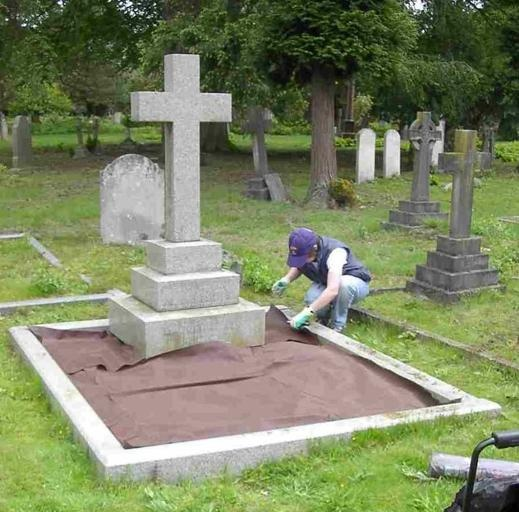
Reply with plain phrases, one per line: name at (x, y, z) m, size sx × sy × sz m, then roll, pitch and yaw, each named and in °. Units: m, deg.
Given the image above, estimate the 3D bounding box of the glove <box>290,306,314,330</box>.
glove at (0.381, 0.583, 7.706) m, size 0.235 × 0.102 × 0.150 m, roll -22°, pitch 32°, yaw 13°

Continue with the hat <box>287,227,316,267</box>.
hat at (0.398, -0.061, 7.949) m, size 0.268 × 0.377 × 0.247 m, roll 3°, pitch 11°, yaw 4°

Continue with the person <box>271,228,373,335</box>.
person at (0.515, 0.243, 8.289) m, size 0.852 × 1.023 × 1.260 m, roll 8°, pitch 16°, yaw 37°
